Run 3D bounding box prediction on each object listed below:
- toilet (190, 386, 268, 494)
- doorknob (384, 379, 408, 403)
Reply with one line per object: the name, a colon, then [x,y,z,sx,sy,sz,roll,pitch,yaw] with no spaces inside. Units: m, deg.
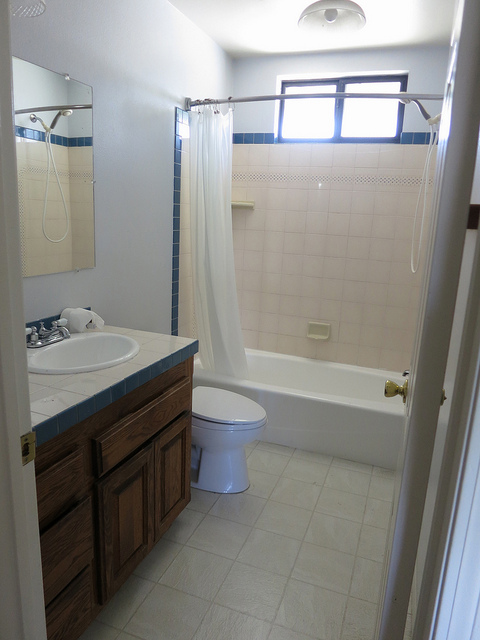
toilet: [-0.070,0.620,2.315,0.356,0.448,0.421,1,10,-7]
doorknob: [0.375,0.156,1.099,0.050,0.083,0.050,5,12,17]
